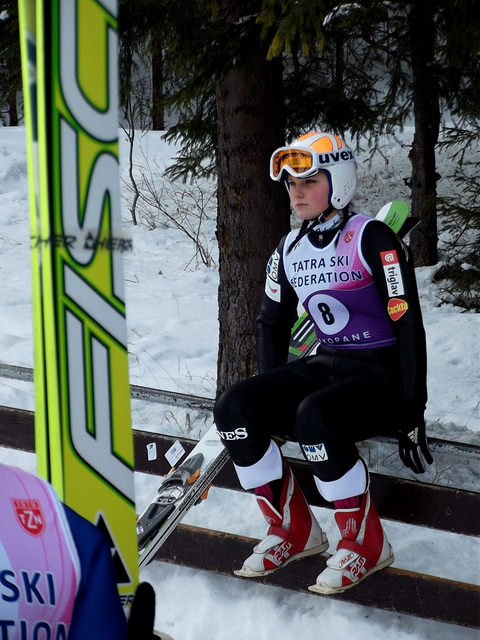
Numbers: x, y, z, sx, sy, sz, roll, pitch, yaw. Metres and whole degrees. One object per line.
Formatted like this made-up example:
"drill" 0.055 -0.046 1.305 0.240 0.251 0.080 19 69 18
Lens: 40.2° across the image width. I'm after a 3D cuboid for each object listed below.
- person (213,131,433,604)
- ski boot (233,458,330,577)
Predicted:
"person" 0.194 0.077 2.357 0.728 1.474 0.767 -9 11 -38
"ski boot" 0.105 0.720 2.271 0.384 0.287 0.136 -11 -17 -33
